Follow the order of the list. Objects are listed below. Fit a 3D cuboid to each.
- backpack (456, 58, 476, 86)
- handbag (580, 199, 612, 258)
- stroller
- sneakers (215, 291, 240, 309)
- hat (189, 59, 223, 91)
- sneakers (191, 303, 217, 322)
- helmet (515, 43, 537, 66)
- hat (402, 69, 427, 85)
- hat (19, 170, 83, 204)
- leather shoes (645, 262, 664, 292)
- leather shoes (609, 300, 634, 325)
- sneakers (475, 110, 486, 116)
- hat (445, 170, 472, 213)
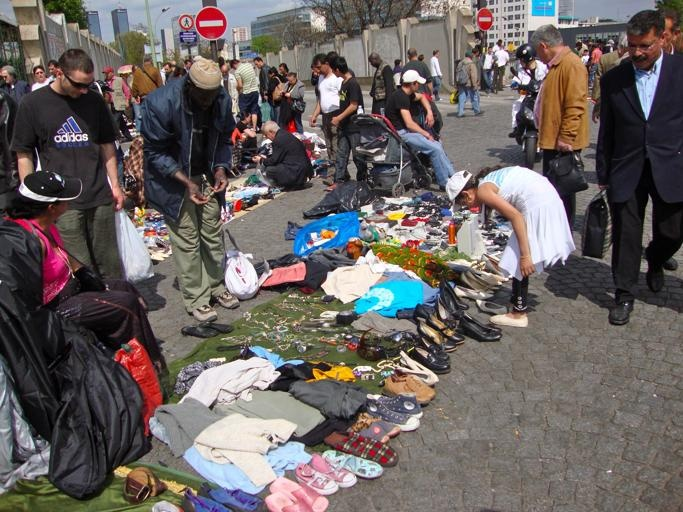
[{"bbox_3d":[4.071,-5.970,17.125,0.468,0.789,0.767,-38,49,-22],"label":"backpack"},{"bbox_3d":[2.710,-0.275,5.585,0.273,0.586,0.645,2,19,26],"label":"handbag"},{"bbox_3d":[0.718,-1.876,9.548,1.598,1.322,1.468,-19,33,-28],"label":"stroller"},{"bbox_3d":[-1.291,0.494,6.074,0.322,0.125,0.145,6,33,39],"label":"sneakers"},{"bbox_3d":[-1.296,-1.746,5.047,0.292,0.296,0.270,-9,19,-13],"label":"hat"},{"bbox_3d":[-1.483,0.620,5.789,0.305,0.130,0.136,-3,13,43],"label":"sneakers"},{"bbox_3d":[3.497,-3.857,10.012,0.431,0.399,0.334,21,41,26],"label":"helmet"},{"bbox_3d":[1.361,-3.248,9.576,0.493,0.244,0.321,-2,28,-23],"label":"hat"},{"bbox_3d":[-2.293,-0.545,4.215,0.438,0.152,0.291,-5,54,-37],"label":"hat"},{"bbox_3d":[3.270,0.226,5.501,0.130,0.352,0.148,7,2,31],"label":"leather shoes"},{"bbox_3d":[2.673,0.545,5.046,0.127,0.146,0.333,8,22,42],"label":"leather shoes"},{"bbox_3d":[4.748,-4.904,18.041,0.277,0.173,0.389,18,23,28],"label":"sneakers"},{"bbox_3d":[1.112,-0.622,5.070,0.203,0.377,0.289,-12,20,-20],"label":"hat"}]
